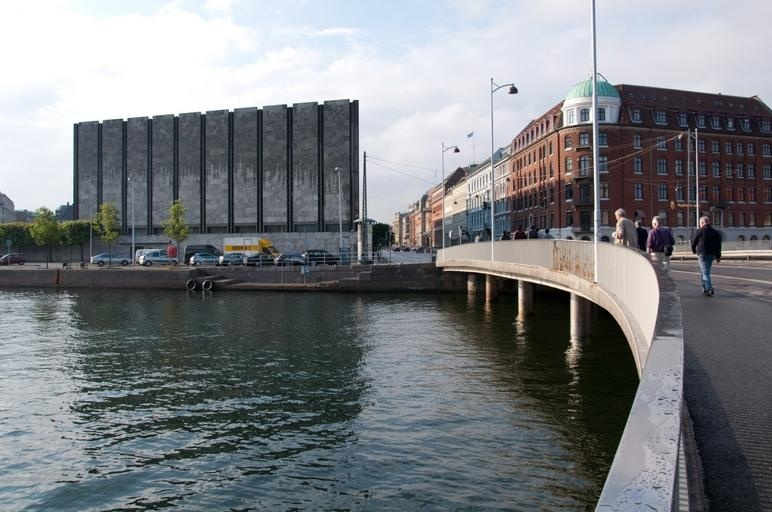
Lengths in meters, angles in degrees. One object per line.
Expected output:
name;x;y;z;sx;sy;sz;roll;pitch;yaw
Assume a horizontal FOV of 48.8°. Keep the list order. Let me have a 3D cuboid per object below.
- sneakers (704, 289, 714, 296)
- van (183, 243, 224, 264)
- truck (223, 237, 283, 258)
sneakers;12.295;1.390;32.444;0.175;0.197;0.473;2;6;28
van;-18.889;-0.160;87.460;3.730;1.829;2.357;-2;4;-20
truck;-13.091;-0.956;82.082;5.765;2.519;2.328;-1;1;9
